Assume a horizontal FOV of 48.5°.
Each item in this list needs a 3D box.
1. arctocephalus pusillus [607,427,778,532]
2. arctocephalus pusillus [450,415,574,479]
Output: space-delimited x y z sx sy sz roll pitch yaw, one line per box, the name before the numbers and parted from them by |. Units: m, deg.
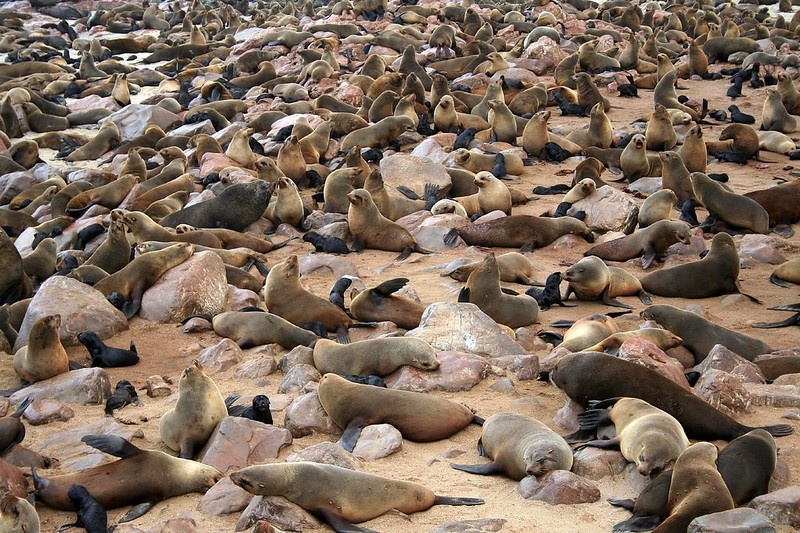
arctocephalus pusillus | 3.195 2.260 9.353 1.401 0.453 0.939 -18 31 -20
arctocephalus pusillus | 1.310 1.985 9.879 0.860 0.291 0.833 -8 20 -27
